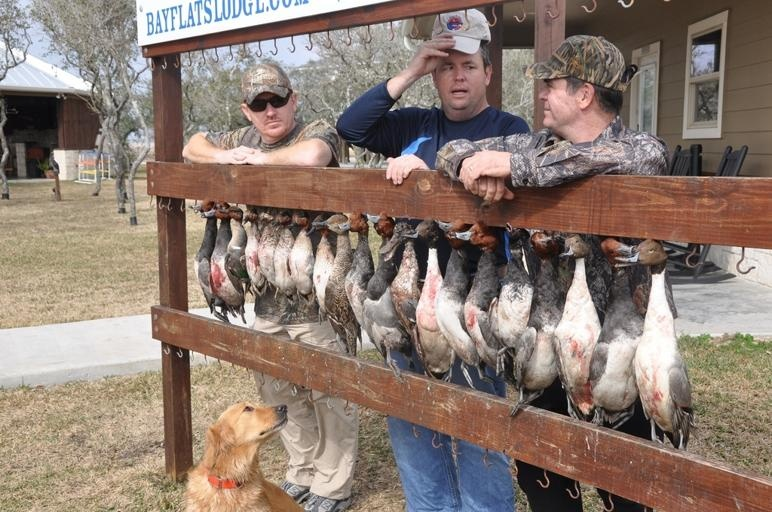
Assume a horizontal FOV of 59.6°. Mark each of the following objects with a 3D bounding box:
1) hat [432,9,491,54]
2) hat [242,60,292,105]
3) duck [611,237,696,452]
[{"bbox_3d":[0.522,-1.509,4.517,0.248,0.209,0.380,4,12,17],"label":"hat"},{"bbox_3d":[-0.878,-1.279,5.029,0.376,0.331,0.241,6,6,-11],"label":"hat"},{"bbox_3d":[1.410,0.460,3.622,0.516,0.802,0.182,10,7,35],"label":"duck"}]
